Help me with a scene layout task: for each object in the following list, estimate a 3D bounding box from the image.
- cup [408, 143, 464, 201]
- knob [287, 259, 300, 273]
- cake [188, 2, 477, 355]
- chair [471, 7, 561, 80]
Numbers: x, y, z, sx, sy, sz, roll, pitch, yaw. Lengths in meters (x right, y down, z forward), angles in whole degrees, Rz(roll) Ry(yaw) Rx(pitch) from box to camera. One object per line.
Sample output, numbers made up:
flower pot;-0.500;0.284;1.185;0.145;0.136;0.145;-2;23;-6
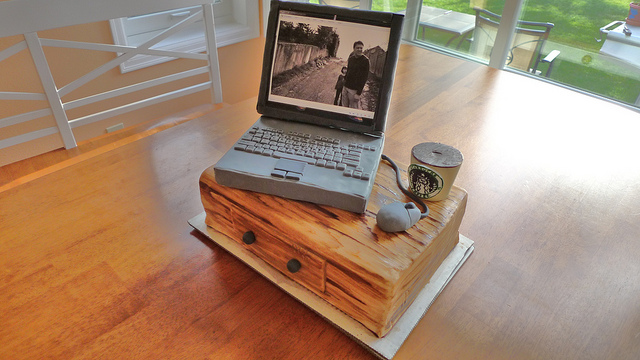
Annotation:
cup;0.334;-0.022;1.090;0.149;0.125;0.150;-3;30;2
knob;-0.073;0.233;1.031;0.035;0.025;0.025;26;44;22
cake;0.065;-0.062;1.085;0.794;0.654;0.665;23;43;20
chair;1.094;-0.755;2.069;0.309;0.454;0.329;23;53;23
